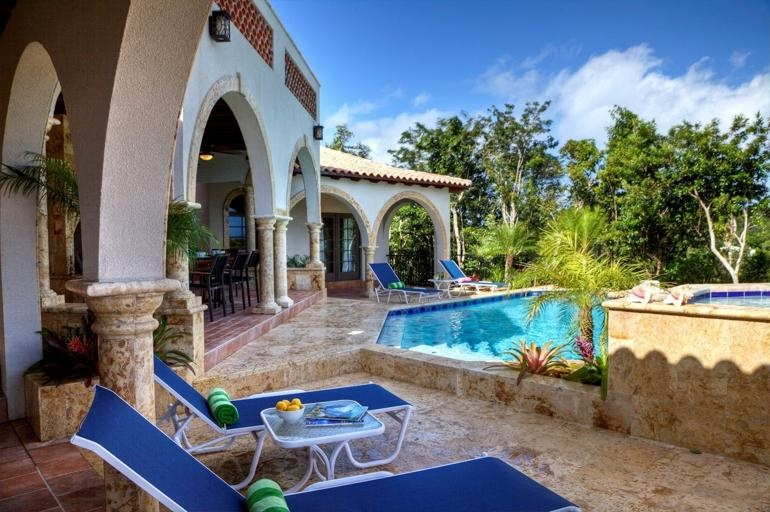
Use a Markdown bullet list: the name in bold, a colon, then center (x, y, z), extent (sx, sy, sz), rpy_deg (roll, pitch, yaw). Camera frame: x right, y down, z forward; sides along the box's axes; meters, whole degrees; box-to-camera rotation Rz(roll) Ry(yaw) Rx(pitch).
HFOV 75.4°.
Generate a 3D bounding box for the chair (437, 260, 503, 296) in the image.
- **chair**: center (2.700, 0.714, 16.124), extent (1.996, 1.001, 1.072), rpy_deg (2, 3, 29)

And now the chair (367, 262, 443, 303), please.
- **chair**: center (0.299, 0.778, 14.548), extent (2.054, 1.082, 1.064), rpy_deg (3, 4, 34)

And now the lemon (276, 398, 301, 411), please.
- **lemon**: center (-0.907, 1.398, 4.634), extent (0.139, 0.065, 0.147), rpy_deg (2, -5, -35)
